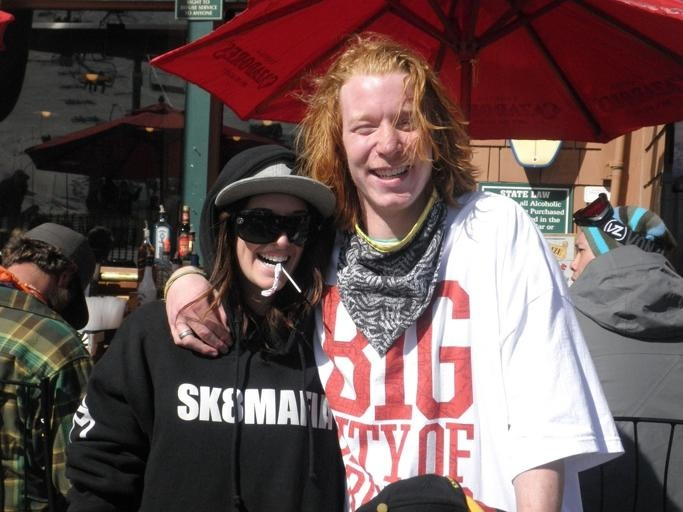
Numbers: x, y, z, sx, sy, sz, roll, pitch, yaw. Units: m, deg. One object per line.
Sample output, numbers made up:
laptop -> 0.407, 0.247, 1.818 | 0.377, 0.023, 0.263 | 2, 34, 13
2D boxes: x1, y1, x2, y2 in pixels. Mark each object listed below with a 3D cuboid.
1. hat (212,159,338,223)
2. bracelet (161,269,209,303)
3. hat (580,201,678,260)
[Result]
hat -> -0.329, -0.296, 5.354 | 0.510, 0.260, 0.666 | 5, -11, -33
bracelet -> -0.856, 0.142, 5.424 | 0.154, 0.218, 0.081 | 26, -34, 15
hat -> 2.038, -0.212, 7.184 | 0.583, 0.417, 0.432 | 7, 4, 20
